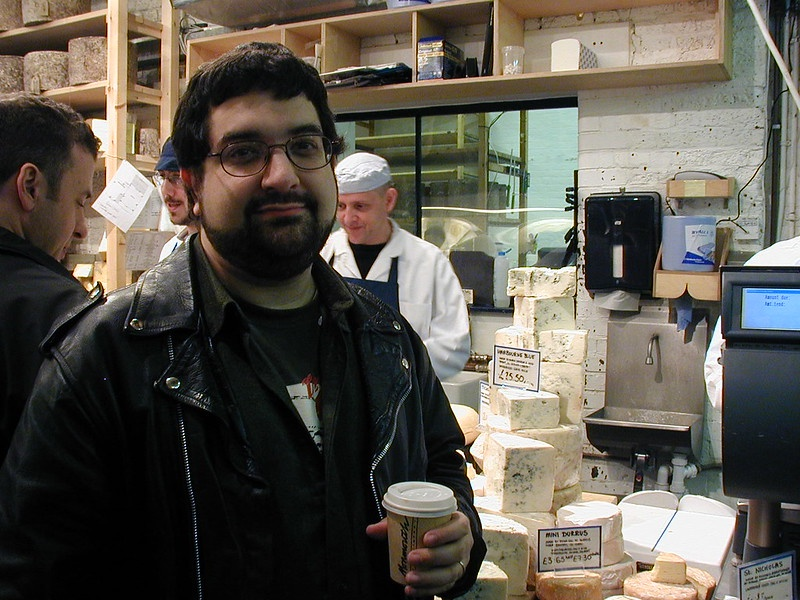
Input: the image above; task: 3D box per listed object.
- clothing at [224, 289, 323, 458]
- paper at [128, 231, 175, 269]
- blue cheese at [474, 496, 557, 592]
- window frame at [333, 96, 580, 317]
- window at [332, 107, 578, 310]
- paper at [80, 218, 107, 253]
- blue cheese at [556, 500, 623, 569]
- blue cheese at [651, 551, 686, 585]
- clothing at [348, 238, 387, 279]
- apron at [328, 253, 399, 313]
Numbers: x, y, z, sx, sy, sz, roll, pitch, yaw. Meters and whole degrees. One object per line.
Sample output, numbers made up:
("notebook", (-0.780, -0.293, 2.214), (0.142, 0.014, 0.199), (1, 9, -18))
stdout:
("clothing", (-0.272, 0.137, 1.527), (0.190, 0.190, 0.287), (-8, 45, -8))
("paper", (-1.482, -0.292, 4.209), (0.282, 0.215, 0.161), (-8, -8, 26))
("blue cheese", (0.319, 0.702, 2.088), (0.201, 0.162, 0.203), (0, 0, 41))
("window frame", (0.390, -0.524, 3.996), (1.244, 1.171, 0.411), (2, 3, 35))
("window", (0.387, -0.504, 4.000), (1.219, 1.215, 0.410), (1, 1, 24))
("paper", (-2.228, -0.476, 5.146), (0.191, 0.321, 0.188), (-2, 4, -32))
("blue cheese", (0.549, 0.657, 2.088), (0.154, 0.120, 0.159), (-9, 1, -11))
("blue cheese", (0.717, 0.704, 1.917), (0.069, 0.055, 0.068), (-8, 12, -44))
("clothing", (-0.175, -0.192, 3.344), (0.164, 0.171, 0.056), (6, 6, 11))
("apron", (-0.096, -0.078, 3.170), (0.236, 0.257, 0.153), (2, 0, -6))
